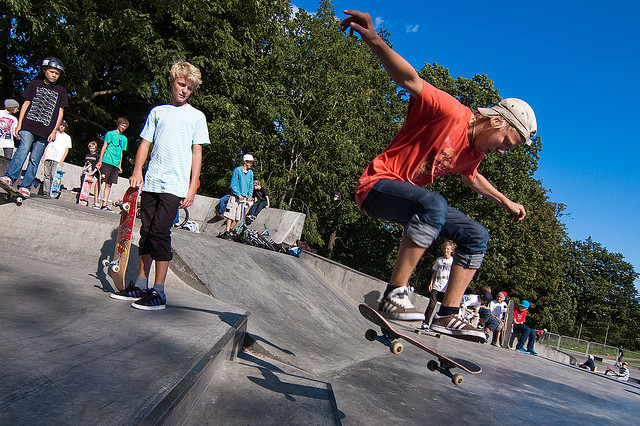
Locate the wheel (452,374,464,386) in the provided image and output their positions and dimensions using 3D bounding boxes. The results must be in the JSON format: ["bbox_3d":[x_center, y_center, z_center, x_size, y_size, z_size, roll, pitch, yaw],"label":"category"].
[{"bbox_3d":[1.263,1.507,3.786,0.057,0.082,0.158,11,-7,46],"label":"wheel"}]

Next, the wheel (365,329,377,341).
[{"bbox_3d":[0.487,1.162,3.960,0.099,0.096,0.105,16,-5,1],"label":"wheel"}]

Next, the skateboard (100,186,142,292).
[{"bbox_3d":[-2.281,0.301,4.845,0.250,1.799,0.414,6,-1,-39],"label":"skateboard"}]

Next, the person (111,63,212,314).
[{"bbox_3d":[-1.724,-0.330,4.588,0.757,2.986,0.752,17,-4,-21],"label":"person"}]

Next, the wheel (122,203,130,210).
[{"bbox_3d":[-2.226,-0.072,4.767,0.095,0.080,0.046,14,-5,32],"label":"wheel"}]

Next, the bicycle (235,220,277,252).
[{"bbox_3d":[-2.001,0.614,12.997,1.208,0.892,1.693,18,-5,-13],"label":"bicycle"}]

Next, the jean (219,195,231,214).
[{"bbox_3d":[-3.215,-0.295,13.865,0.187,0.663,1.653,16,-5,-15],"label":"jean"}]

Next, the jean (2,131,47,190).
[{"bbox_3d":[-4.822,-0.866,6.833,0.404,1.130,0.596,18,-5,-35],"label":"jean"}]

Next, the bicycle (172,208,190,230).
[{"bbox_3d":[-3.675,0.204,11.024,0.128,0.563,0.536,14,12,21],"label":"bicycle"}]

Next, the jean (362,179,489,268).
[{"bbox_3d":[1.061,0.074,4.102,1.333,0.457,1.456,23,4,-4],"label":"jean"}]

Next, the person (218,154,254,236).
[{"bbox_3d":[-2.476,-0.489,13.097,0.804,2.655,0.735,17,7,31],"label":"person"}]
